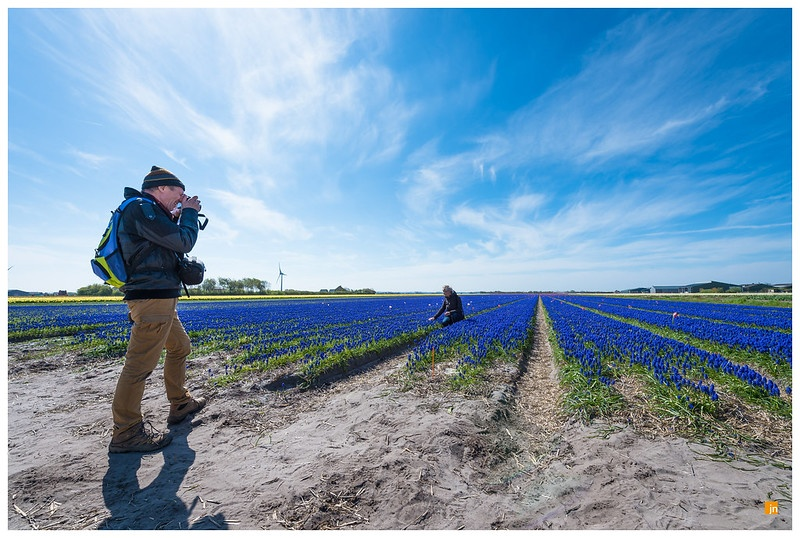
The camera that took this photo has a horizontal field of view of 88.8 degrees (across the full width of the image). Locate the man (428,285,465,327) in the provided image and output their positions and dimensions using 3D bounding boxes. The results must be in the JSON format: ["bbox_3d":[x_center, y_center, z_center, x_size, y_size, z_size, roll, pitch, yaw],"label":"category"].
[{"bbox_3d":[1.986,1.835,16.720,1.522,2.174,0.967,-3,-5,-8],"label":"man"}]

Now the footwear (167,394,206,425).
[{"bbox_3d":[-3.898,2.624,7.729,0.267,0.305,0.753,3,7,15],"label":"footwear"}]

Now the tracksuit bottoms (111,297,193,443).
[{"bbox_3d":[-4.144,1.651,7.048,0.810,2.315,1.101,-3,-4,7],"label":"tracksuit bottoms"}]

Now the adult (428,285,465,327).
[{"bbox_3d":[2.021,1.529,16.357,0.855,1.624,2.604,-3,-3,5],"label":"adult"}]

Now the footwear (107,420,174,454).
[{"bbox_3d":[-4.176,2.805,6.893,0.924,0.407,0.436,5,-8,-23],"label":"footwear"}]

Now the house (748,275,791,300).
[{"bbox_3d":[54.886,2.549,61.847,3.159,1.307,64.800,-5,-4,41],"label":"house"}]
